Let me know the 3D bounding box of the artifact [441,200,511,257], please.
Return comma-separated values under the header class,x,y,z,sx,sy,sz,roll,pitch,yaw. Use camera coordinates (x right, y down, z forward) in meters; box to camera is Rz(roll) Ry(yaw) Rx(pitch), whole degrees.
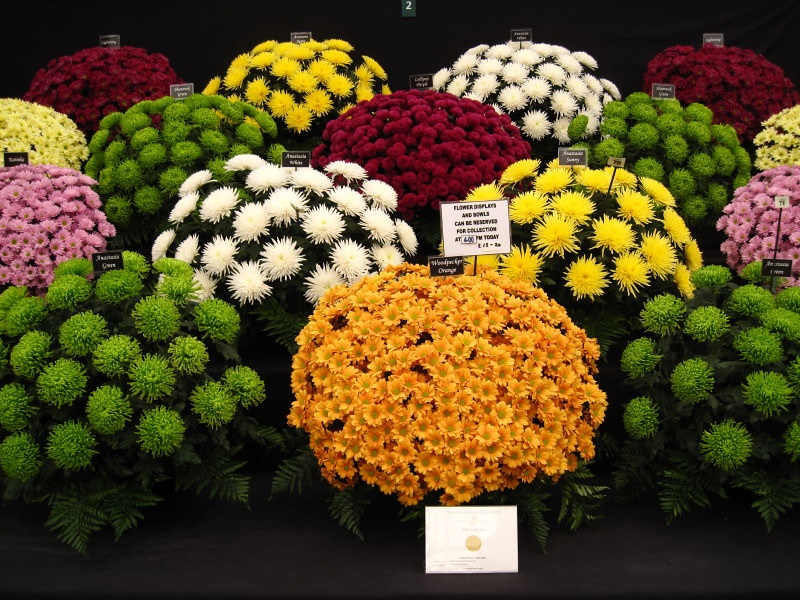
class,x,y,z,sx,sy,sz,roll,pitch,yaw
artifact,0.359,-0.266,2.988,0.303,0.400,0.253,-3,62,5
